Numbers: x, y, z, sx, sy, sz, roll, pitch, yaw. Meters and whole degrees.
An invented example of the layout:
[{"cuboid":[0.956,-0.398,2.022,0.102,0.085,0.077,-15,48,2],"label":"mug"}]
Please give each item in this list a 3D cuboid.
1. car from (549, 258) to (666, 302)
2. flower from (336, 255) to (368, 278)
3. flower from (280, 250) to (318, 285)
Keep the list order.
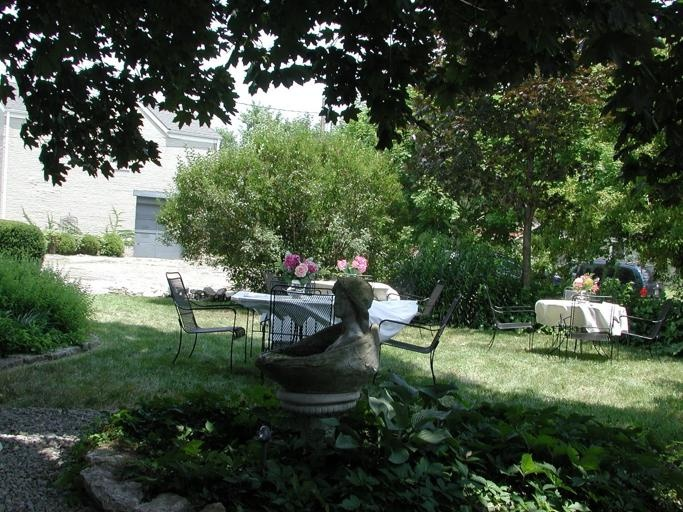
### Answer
[{"cuboid":[6.535,0.424,13.896,1.934,1.036,1.217,7,1,28],"label":"car"},{"cuboid":[0.169,0.145,7.997,0.421,0.340,0.439,-4,-1,-11],"label":"flower"},{"cuboid":[-0.520,0.143,7.235,0.358,0.279,0.377,5,-4,-5],"label":"flower"}]
